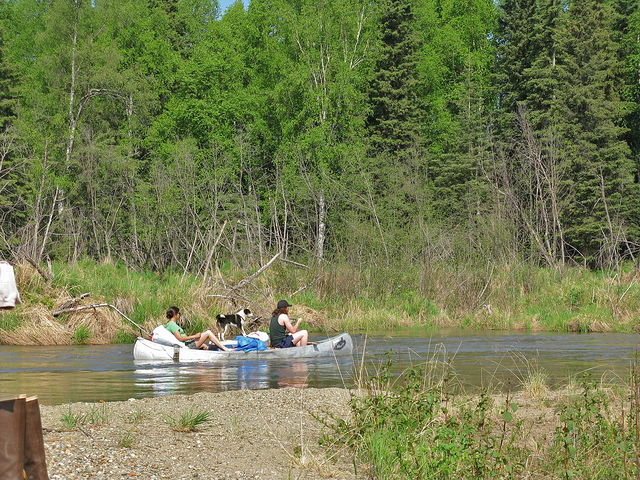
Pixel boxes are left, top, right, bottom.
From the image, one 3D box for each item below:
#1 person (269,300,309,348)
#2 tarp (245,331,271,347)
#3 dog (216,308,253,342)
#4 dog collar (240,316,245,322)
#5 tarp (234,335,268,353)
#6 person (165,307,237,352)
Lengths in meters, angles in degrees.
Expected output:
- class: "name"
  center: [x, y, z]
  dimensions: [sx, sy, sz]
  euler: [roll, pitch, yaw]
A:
- class: "person"
  center: [-0.970, 2.560, 24.196]
  dimensions: [0.865, 1.677, 0.680]
  euler: [-19, 23, -30]
- class: "tarp"
  center: [-1.742, 2.803, 23.311]
  dimensions: [0.460, 0.330, 0.610]
  euler: [12, -3, 42]
- class: "dog"
  center: [-2.673, 2.613, 24.753]
  dimensions: [1.065, 0.796, 1.634]
  euler: [-3, 1, 7]
- class: "dog collar"
  center: [-2.404, 2.424, 24.816]
  dimensions: [0.030, 0.244, 0.032]
  euler: [-29, 17, 16]
- class: "tarp"
  center: [-1.919, 2.882, 22.325]
  dimensions: [0.873, 0.383, 0.546]
  euler: [-4, 1, -6]
- class: "person"
  center: [-3.369, 2.501, 22.696]
  dimensions: [1.835, 1.496, 0.879]
  euler: [-5, 1, -17]
